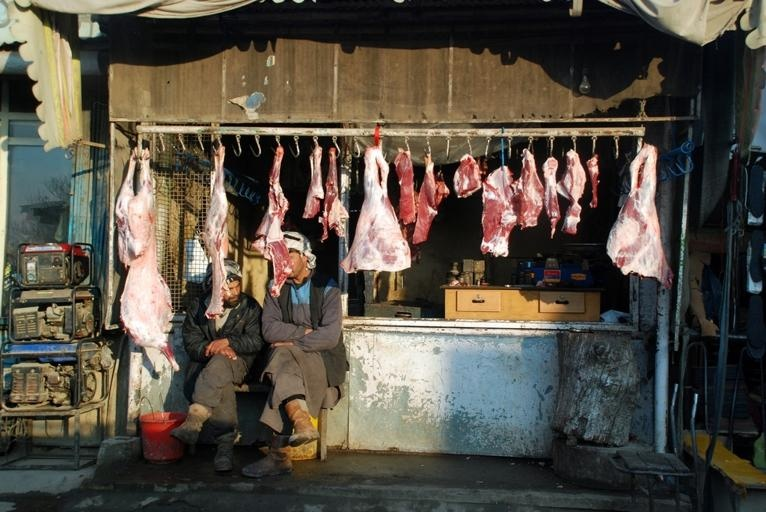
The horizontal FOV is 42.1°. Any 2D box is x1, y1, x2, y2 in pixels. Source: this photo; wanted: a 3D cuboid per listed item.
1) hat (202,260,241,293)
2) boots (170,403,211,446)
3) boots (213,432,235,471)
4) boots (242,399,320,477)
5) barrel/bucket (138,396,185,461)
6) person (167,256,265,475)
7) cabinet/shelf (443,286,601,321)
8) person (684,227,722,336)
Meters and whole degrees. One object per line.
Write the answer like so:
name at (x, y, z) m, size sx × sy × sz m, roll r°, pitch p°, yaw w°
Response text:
hat at (-1.807, 0.172, 11.190) m, size 0.288 × 0.425 × 0.218 m, roll 10°, pitch 7°, yaw -2°
boots at (-2.055, 1.811, 10.735) m, size 0.198 × 0.426 × 0.492 m, roll 1°, pitch -1°, yaw 30°
boots at (-1.747, 2.148, 11.016) m, size 0.230 × 0.409 × 0.357 m, roll 1°, pitch -1°, yaw -9°
boots at (-1.022, 1.960, 10.788) m, size 0.855 × 0.851 × 0.587 m, roll 1°, pitch -1°, yaw 26°
barrel/bucket at (-2.496, 2.063, 11.254) m, size 0.533 × 0.477 × 0.535 m, roll -3°, pitch 0°, yaw 0°
person at (-1.813, 1.259, 11.339) m, size 0.880 × 2.336 × 1.285 m, roll 6°, pitch -22°, yaw -5°
cabinet/shelf at (1.617, 0.553, 11.490) m, size 1.762 × 0.382 × 0.396 m, roll 2°, pitch -1°, yaw -6°
person at (3.653, 0.286, 11.261) m, size 0.430 × 1.203 × 0.350 m, roll 2°, pitch -1°, yaw -29°
